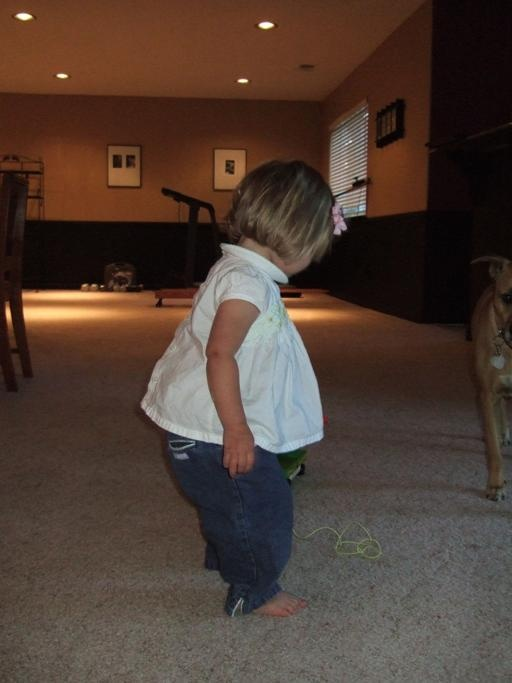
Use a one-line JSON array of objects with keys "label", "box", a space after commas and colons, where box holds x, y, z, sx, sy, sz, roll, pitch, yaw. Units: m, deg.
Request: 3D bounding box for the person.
[{"label": "person", "box": [-0.033, 0.073, 0.889, 0.257, 0.706, 0.304, 7, 8, 39]}]

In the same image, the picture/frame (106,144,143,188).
[{"label": "picture/frame", "box": [-2.020, -2.689, 8.534, 0.618, 0.740, 0.054, 0, 5, -5]}]
